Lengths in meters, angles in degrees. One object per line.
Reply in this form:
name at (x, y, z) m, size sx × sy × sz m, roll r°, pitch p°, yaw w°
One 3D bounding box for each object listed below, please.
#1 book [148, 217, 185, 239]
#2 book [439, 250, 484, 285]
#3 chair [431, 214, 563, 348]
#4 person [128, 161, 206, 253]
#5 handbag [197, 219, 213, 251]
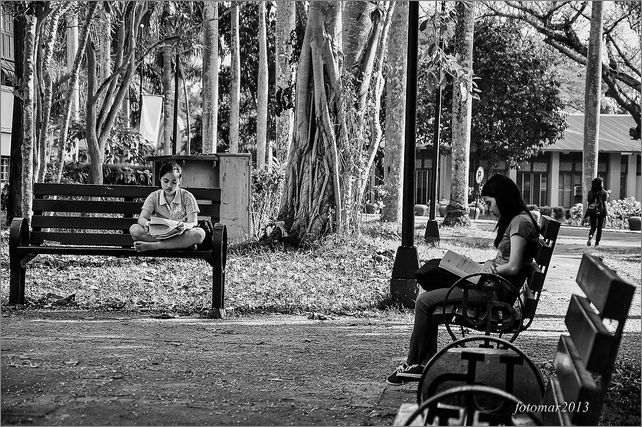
book at (-2.061, 0.250, 9.423) m, size 0.321 × 0.139 × 0.333 m, roll 9°, pitch -8°, yaw -4°
book at (1.445, 0.540, 7.271) m, size 0.380 × 0.289 × 0.103 m, roll 27°, pitch -37°, yaw 11°
chair at (1.812, 0.726, 7.738) m, size 1.233 × 1.759 × 1.357 m, roll 6°, pitch -5°, yaw 10°
person at (-2.012, -0.074, 9.976) m, size 1.122 × 1.411 × 1.133 m, roll 0°, pitch -6°, yaw -2°
handbag at (-1.565, 0.302, 9.768) m, size 0.150 × 0.291 × 0.398 m, roll 2°, pitch -28°, yaw -7°
